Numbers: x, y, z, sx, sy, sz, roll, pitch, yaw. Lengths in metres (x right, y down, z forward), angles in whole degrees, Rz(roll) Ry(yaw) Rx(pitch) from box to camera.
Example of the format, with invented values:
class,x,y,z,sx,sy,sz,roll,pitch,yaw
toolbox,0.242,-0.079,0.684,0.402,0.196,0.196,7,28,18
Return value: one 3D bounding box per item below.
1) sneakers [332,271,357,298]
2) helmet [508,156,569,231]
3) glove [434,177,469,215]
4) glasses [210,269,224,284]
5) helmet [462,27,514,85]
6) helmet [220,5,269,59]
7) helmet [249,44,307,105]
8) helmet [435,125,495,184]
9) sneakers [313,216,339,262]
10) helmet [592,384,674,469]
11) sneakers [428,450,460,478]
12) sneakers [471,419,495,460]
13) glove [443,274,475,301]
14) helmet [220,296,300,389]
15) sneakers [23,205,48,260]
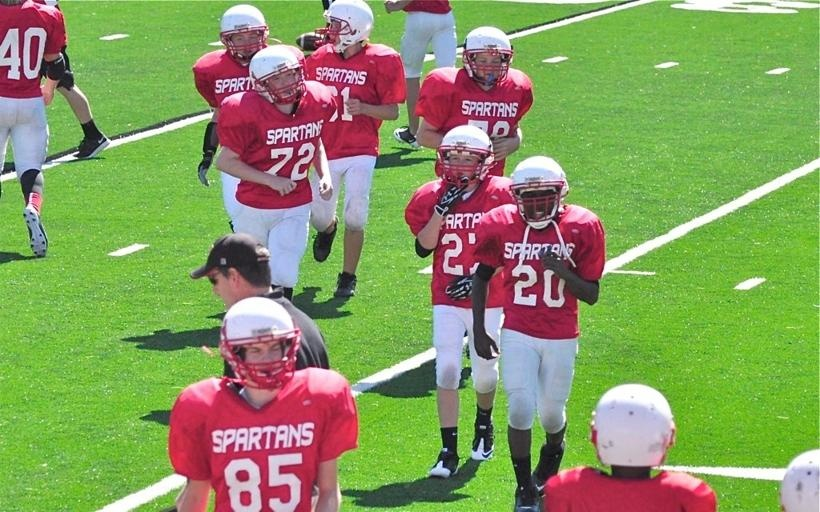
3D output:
class,x,y,z,sx,sy,sz,roll,pitch,yaw
sneakers,-0.607,0.265,10.837,0.198,0.223,0.161,-2,24,-3
helmet,0.894,-0.445,8.058,0.444,0.400,0.516,-2,7,8
glove,0.294,-0.434,8.683,0.306,0.081,0.176,-41,49,-2
glasses,-1.228,0.132,7.437,0.104,0.088,0.072,12,10,-3
helmet,0.643,-1.660,9.797,0.453,0.407,0.496,-1,19,-8
helmet,-1.433,-1.980,10.188,0.447,0.368,0.456,-2,41,-2
helmet,-1.056,-1.443,9.273,0.442,0.359,0.505,-11,23,-16
helmet,0.405,-0.742,8.833,0.413,0.341,0.468,1,3,10
sneakers,-0.825,-0.151,11.274,0.181,0.452,0.190,19,24,3
helmet,1.279,0.983,6.771,0.459,0.356,0.507,3,21,8
sneakers,0.258,1.506,8.583,0.152,0.195,0.231,13,26,27
sneakers,0.546,1.374,8.773,0.133,0.299,0.143,1,-11,6
glove,0.357,0.225,8.637,0.189,0.181,0.301,0,22,1
helmet,-0.885,0.465,6.913,0.484,0.406,0.537,-8,25,-19
sneakers,-3.574,-0.233,11.191,0.212,0.508,0.244,-4,20,6
